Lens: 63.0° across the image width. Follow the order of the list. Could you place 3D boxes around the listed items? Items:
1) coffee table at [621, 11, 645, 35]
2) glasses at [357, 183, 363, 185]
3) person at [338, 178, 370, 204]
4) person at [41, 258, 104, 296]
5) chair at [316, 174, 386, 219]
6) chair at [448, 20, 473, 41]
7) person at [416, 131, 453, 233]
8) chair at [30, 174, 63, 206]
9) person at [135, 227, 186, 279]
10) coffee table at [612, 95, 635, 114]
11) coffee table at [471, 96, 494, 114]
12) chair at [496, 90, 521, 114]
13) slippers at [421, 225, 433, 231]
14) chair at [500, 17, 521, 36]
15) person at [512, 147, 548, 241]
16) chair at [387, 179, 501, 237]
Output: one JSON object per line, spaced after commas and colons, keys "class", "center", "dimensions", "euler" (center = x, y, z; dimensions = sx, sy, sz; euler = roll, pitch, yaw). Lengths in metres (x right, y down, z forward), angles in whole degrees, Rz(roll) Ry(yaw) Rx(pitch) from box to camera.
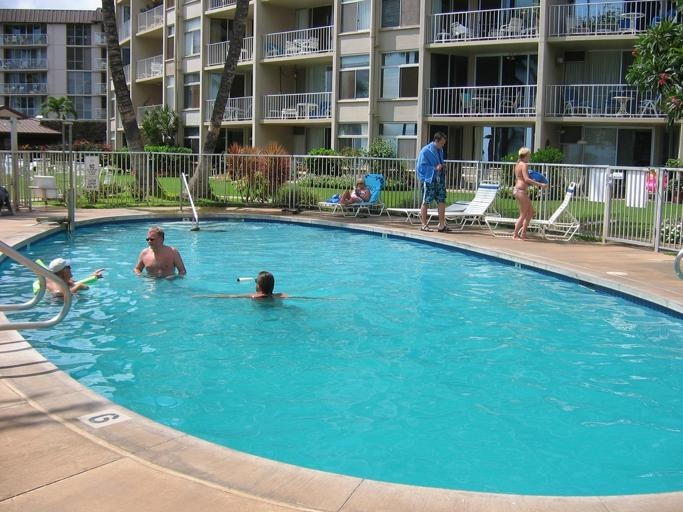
{"class": "coffee table", "center": [12.254, -9.771, 23.377], "dimensions": [0.893, 1.059, 1.188], "euler": [7, 12, 27]}
{"class": "glasses", "center": [0.582, -2.243, 17.078], "dimensions": [0.075, 0.055, 0.074], "euler": [-9, 13, -35]}
{"class": "person", "center": [0.480, -2.084, 17.383], "dimensions": [1.027, 0.746, 0.592], "euler": [-6, 20, 10]}
{"class": "person", "center": [-3.939, 0.240, 8.201], "dimensions": [0.875, 0.462, 0.475], "euler": [-16, 15, -43]}
{"class": "chair", "center": [0.297, -1.885, 17.447], "dimensions": [1.846, 1.181, 1.259], "euler": [-4, 10, -25]}
{"class": "chair", "center": [5.522, -10.502, 25.854], "dimensions": [1.074, 1.015, 0.786], "euler": [-5, 20, -11]}
{"class": "person", "center": [2.365, -1.897, 14.217], "dimensions": [0.830, 2.479, 1.378], "euler": [2, 11, 8]}
{"class": "chair", "center": [-9.051, -2.056, 17.193], "dimensions": [0.904, 1.052, 0.965], "euler": [0, 9, -9]}
{"class": "person", "center": [-3.421, -0.047, 10.485], "dimensions": [0.952, 1.051, 0.682], "euler": [1, 12, 9]}
{"class": "coffee table", "center": [11.943, -6.408, 23.572], "dimensions": [0.816, 0.832, 0.793], "euler": [-2, 9, -10]}
{"class": "coffee table", "center": [6.569, -7.072, 25.797], "dimensions": [0.839, 0.774, 0.784], "euler": [8, 20, 23]}
{"class": "chair", "center": [7.667, -7.079, 25.339], "dimensions": [1.001, 1.068, 0.658], "euler": [4, 11, 15]}
{"class": "slippers", "center": [2.270, -0.729, 14.431], "dimensions": [0.292, 0.121, 0.147], "euler": [-3, 9, -17]}
{"class": "chair", "center": [7.682, -10.304, 24.894], "dimensions": [0.774, 0.790, 0.459], "euler": [4, 11, 14]}
{"class": "person", "center": [4.351, -1.454, 13.008], "dimensions": [0.624, 2.115, 1.469], "euler": [4, 11, 18]}
{"class": "chair", "center": [2.872, -1.319, 15.395], "dimensions": [2.724, 1.205, 1.396], "euler": [0, 10, -2]}
